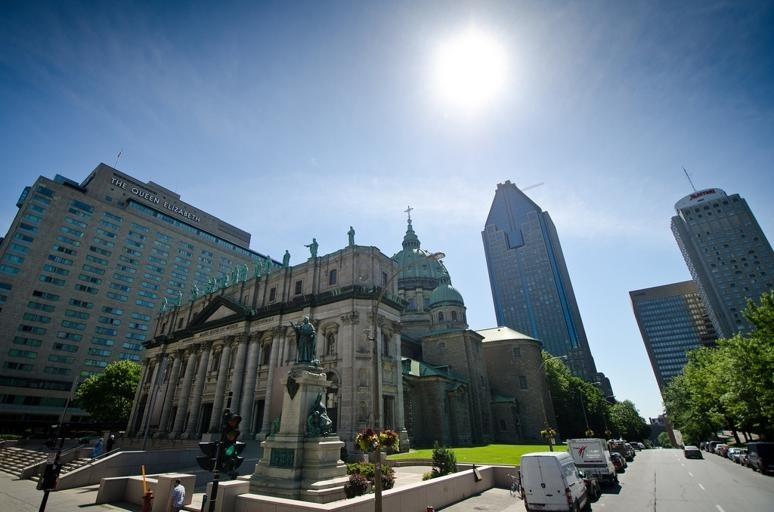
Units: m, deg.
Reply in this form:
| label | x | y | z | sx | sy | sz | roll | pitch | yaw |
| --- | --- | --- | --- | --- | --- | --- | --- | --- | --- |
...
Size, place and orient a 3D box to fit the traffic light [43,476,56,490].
| label | x | y | z | sx | sy | sz | roll | pitch | yaw |
| --- | --- | --- | --- | --- | --- | --- | --- | --- | --- |
| traffic light | -20.435 | 13.897 | 21.707 | 0.476 | 0.669 | 0.668 | 12 | -29 | -28 |

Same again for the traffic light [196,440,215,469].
| label | x | y | z | sx | sy | sz | roll | pitch | yaw |
| --- | --- | --- | --- | --- | --- | --- | --- | --- | --- |
| traffic light | -9.345 | 10.490 | 18.602 | 0.862 | 1.349 | 0.845 | 7 | -28 | -20 |

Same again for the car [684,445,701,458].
| label | x | y | z | sx | sy | sz | roll | pitch | yaw |
| --- | --- | --- | --- | --- | --- | --- | --- | --- | --- |
| car | 44.045 | 28.763 | 51.741 | 1.835 | 1.432 | 2.020 | -15 | -27 | 25 |
